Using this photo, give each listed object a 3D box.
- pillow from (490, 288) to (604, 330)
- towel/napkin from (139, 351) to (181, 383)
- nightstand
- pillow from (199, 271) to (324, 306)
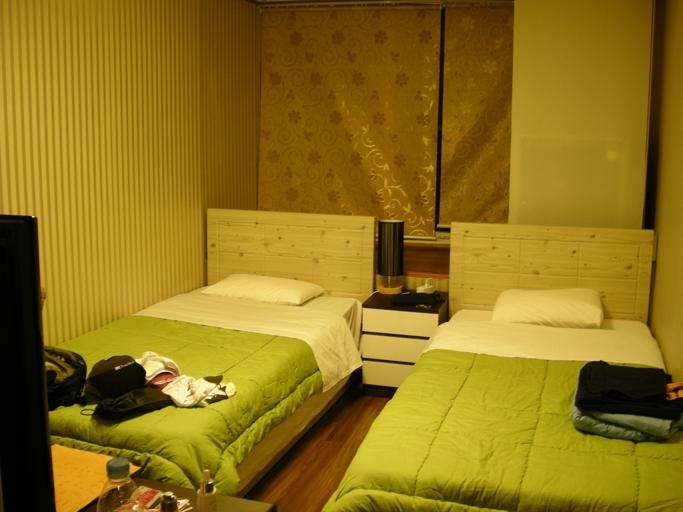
[{"bbox_3d":[1.375,0.345,3.360,0.393,0.119,0.394,-4,12,14],"label":"pillow"},{"bbox_3d":[-0.905,0.541,2.531,0.124,0.090,0.169,-20,26,-30],"label":"towel/napkin"},{"bbox_3d":[0.443,0.691,3.867,0.530,0.388,0.514,-4,-13,-11],"label":"nightstand"},{"bbox_3d":[-0.600,0.254,3.904,0.588,0.119,0.369,4,14,21],"label":"pillow"}]
